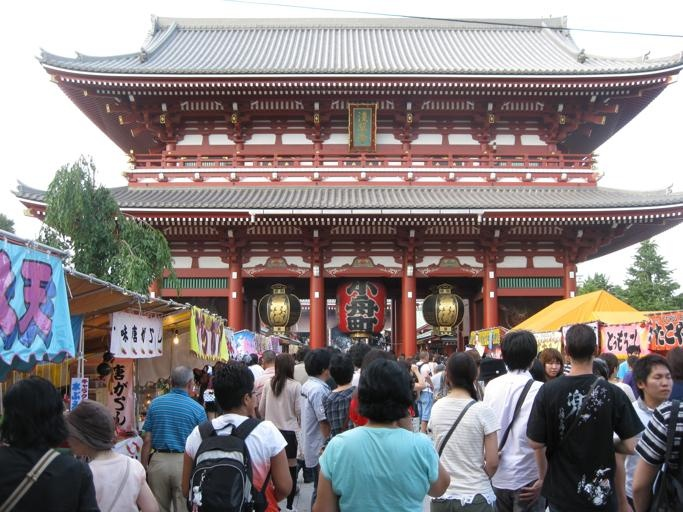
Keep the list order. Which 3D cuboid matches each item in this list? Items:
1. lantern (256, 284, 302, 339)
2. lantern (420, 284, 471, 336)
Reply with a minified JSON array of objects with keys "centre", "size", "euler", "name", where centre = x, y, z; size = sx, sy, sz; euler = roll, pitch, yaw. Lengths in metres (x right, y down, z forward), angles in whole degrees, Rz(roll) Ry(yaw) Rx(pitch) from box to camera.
[{"centre":[-1.696,1.460,21.263],"size":[1.253,1.489,1.262],"euler":[0,-4,-3],"name":"lantern"},{"centre":[2.732,1.506,21.311],"size":[1.409,1.734,1.280],"euler":[0,-10,3],"name":"lantern"}]
